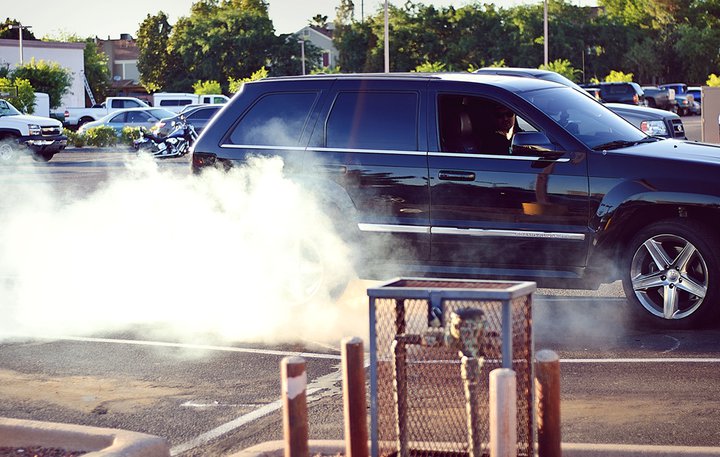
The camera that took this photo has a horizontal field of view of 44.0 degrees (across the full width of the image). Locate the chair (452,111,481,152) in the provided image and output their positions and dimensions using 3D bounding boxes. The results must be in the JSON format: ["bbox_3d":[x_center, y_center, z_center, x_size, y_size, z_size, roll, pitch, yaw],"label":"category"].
[{"bbox_3d":[1.306,-1.104,10.097,0.245,0.432,0.375,6,-9,-36],"label":"chair"}]

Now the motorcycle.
[{"bbox_3d":[-5.909,-2.837,28.148,2.330,1.316,1.087,-5,-6,-12],"label":"motorcycle"}]
